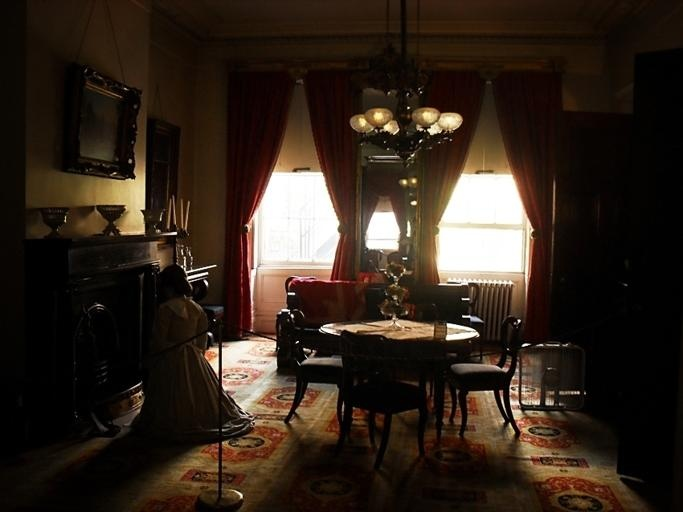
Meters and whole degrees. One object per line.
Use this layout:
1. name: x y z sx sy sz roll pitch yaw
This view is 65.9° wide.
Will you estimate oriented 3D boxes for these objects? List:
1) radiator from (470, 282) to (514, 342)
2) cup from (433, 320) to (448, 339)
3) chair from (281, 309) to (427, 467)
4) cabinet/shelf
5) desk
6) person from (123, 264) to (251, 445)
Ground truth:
1. radiator: 2.450 0.839 8.541 0.807 0.931 0.219 1 4 2
2. cup: 0.946 0.719 5.189 0.135 0.213 0.141 1 1 0
3. chair: 0.123 1.176 4.944 0.741 1.129 1.336 -4 8 -39
4. cabinet/shelf: -2.403 0.752 5.086 0.571 2.124 1.806 0 1 8
5. desk: 0.502 1.262 5.217 1.494 0.985 1.623 0 -13 29
6. person: -1.501 0.901 5.198 1.093 1.570 1.202 -2 0 -2
